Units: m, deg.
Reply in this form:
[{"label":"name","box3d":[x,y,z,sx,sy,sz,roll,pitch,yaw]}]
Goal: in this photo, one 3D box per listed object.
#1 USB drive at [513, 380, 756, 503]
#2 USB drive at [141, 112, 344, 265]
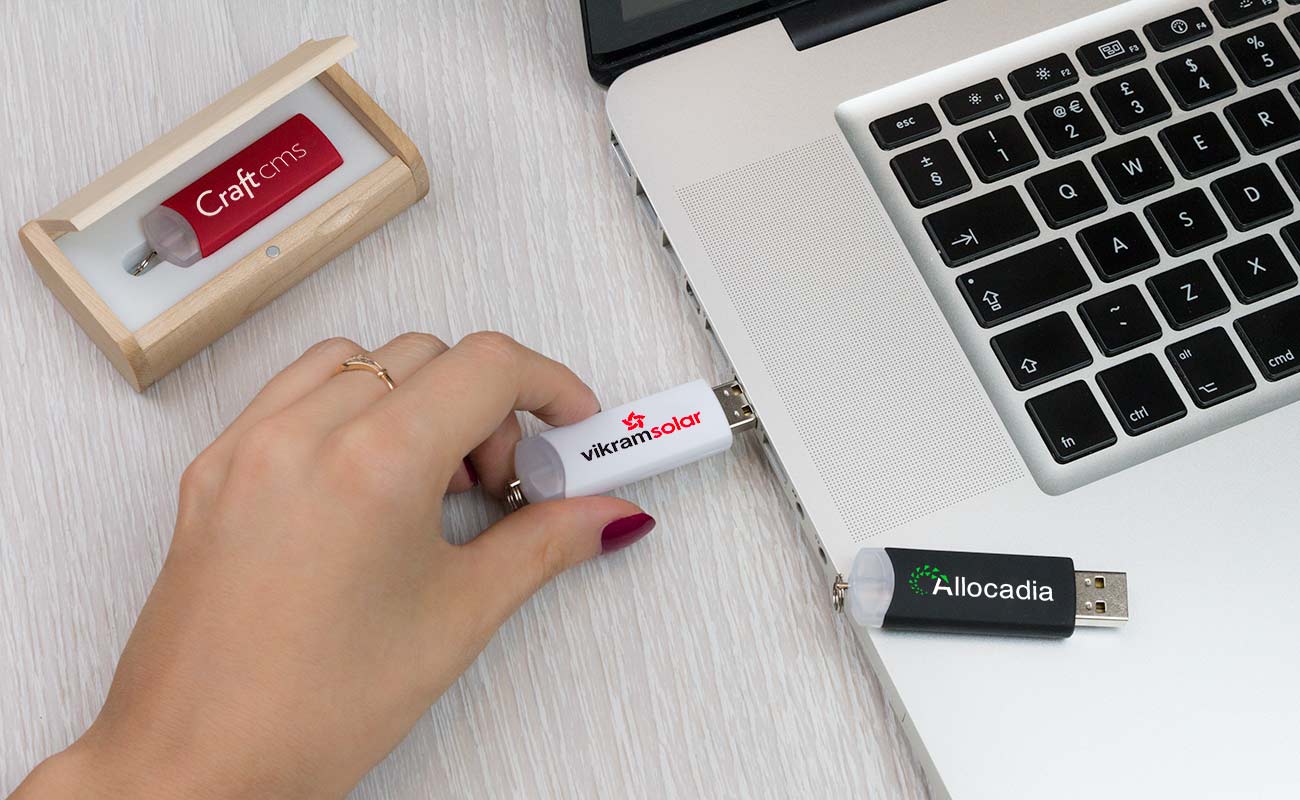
[{"label":"USB drive","box3d":[-0.022,0.035,0.996,0.248,0.058,0.084,-19,86,-1]},{"label":"USB drive","box3d":[-0.348,-0.181,1.023,0.234,0.034,0.071,-39,92,-10]}]
